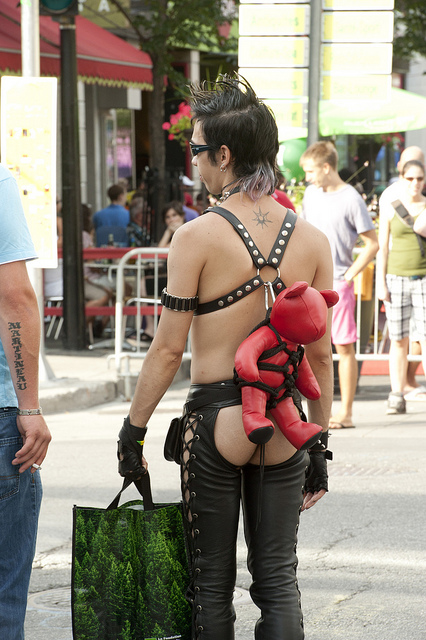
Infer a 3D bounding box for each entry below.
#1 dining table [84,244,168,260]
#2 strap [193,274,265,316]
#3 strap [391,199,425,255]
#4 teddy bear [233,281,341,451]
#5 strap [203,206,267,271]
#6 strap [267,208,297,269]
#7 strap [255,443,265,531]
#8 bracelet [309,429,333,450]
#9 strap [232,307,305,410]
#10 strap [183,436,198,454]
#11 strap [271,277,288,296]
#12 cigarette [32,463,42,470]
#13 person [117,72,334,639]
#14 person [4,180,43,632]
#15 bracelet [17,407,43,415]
[{"bbox_3d":[-1.069,-0.803,10.812,1.025,0.219,1.027,0,1,9],"label":"dining table"},{"bbox_3d":[0.042,-0.061,2.360,0.128,0.028,0.116,-22,5,10],"label":"strap"},{"bbox_3d":[1.642,-0.780,7.605,0.079,0.541,0.078,-37,-3,22],"label":"strap"},{"bbox_3d":[0.181,0.115,2.274,0.328,0.413,0.180,-5,7,-38],"label":"teddy bear"},{"bbox_3d":[0.041,-0.217,2.401,0.183,0.168,0.086,5,8,45],"label":"strap"},{"bbox_3d":[0.177,-0.214,2.413,0.034,0.121,0.119,26,-10,-9],"label":"strap"},{"bbox_3d":[0.122,0.441,2.371,0.024,0.234,0.042,0,6,2],"label":"strap"},{"bbox_3d":[0.325,0.366,2.734,0.060,0.053,0.072,-1,-2,17],"label":"bracelet"},{"bbox_3d":[0.172,0.096,2.313,0.202,0.239,0.101,15,-4,-36],"label":"strap"},{"bbox_3d":[-0.061,0.331,2.376,0.008,0.033,0.023,42,12,29],"label":"strap"},{"bbox_3d":[0.173,-0.087,2.389,0.031,0.047,0.017,-19,15,-18],"label":"strap"},{"bbox_3d":[-0.469,0.390,2.396,0.013,0.005,0.018,20,-14,20],"label":"cigarette"},{"bbox_3d":[0.013,0.084,2.388,0.586,1.468,0.471,0,6,7],"label":"person"},{"bbox_3d":[-0.512,0.250,2.404,0.110,1.219,0.179,-2,6,-12],"label":"person"},{"bbox_3d":[-0.477,0.241,2.368,0.069,0.017,0.049,-3,5,-27],"label":"bracelet"}]
